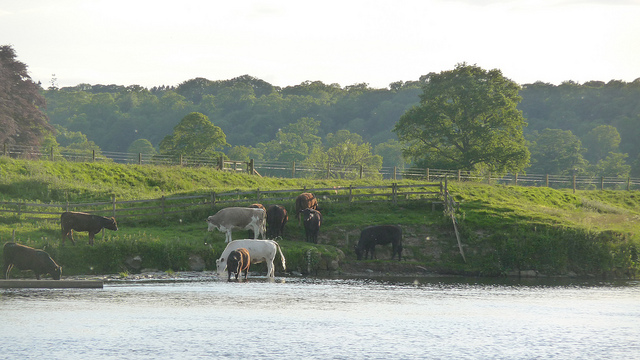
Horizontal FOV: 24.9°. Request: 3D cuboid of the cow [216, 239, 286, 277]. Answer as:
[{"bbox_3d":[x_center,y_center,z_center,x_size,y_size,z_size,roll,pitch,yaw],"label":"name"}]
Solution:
[{"bbox_3d":[-10.496,10.404,202.700,12.721,6.027,3.290,1,-6,-5],"label":"cow"}]
